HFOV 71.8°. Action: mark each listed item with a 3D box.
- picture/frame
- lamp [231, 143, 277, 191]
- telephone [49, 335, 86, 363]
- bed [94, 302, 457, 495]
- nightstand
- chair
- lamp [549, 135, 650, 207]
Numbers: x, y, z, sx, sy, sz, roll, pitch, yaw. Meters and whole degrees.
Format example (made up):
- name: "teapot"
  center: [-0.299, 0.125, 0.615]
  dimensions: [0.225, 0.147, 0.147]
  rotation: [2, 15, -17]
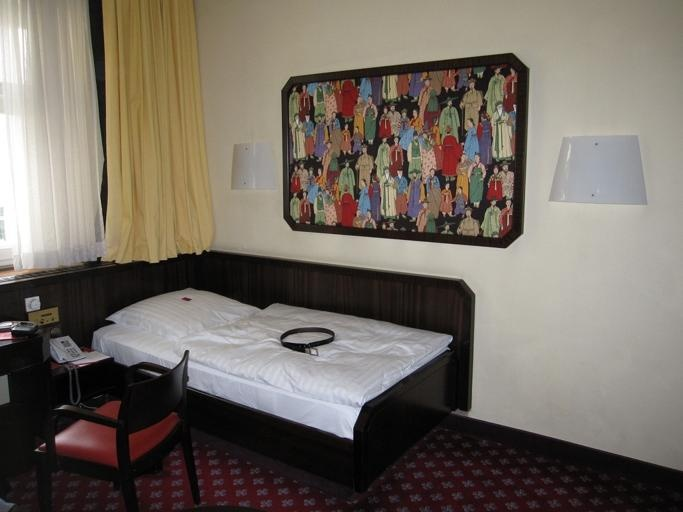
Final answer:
- name: "picture/frame"
  center: [0.493, -0.775, 3.351]
  dimensions: [1.355, 0.962, 0.055]
  rotation: [6, 12, 32]
- name: "lamp"
  center: [-0.660, -0.640, 3.609]
  dimensions: [0.357, 0.372, 0.366]
  rotation: [3, -5, -44]
- name: "telephone"
  center: [-1.965, 0.663, 3.335]
  dimensions: [0.224, 0.085, 0.173]
  rotation: [35, 28, 25]
- name: "bed"
  center: [-0.534, 0.680, 3.121]
  dimensions: [1.931, 0.629, 1.032]
  rotation: [15, 22, 35]
- name: "nightstand"
  center: [-1.820, 0.875, 3.299]
  dimensions: [0.347, 0.368, 0.368]
  rotation: [7, 11, 34]
- name: "chair"
  center: [-1.270, 1.021, 2.693]
  dimensions: [0.628, 1.068, 0.650]
  rotation: [9, 11, 12]
- name: "lamp"
  center: [1.367, -0.443, 2.468]
  dimensions: [0.387, 0.416, 0.098]
  rotation: [10, 8, 25]
